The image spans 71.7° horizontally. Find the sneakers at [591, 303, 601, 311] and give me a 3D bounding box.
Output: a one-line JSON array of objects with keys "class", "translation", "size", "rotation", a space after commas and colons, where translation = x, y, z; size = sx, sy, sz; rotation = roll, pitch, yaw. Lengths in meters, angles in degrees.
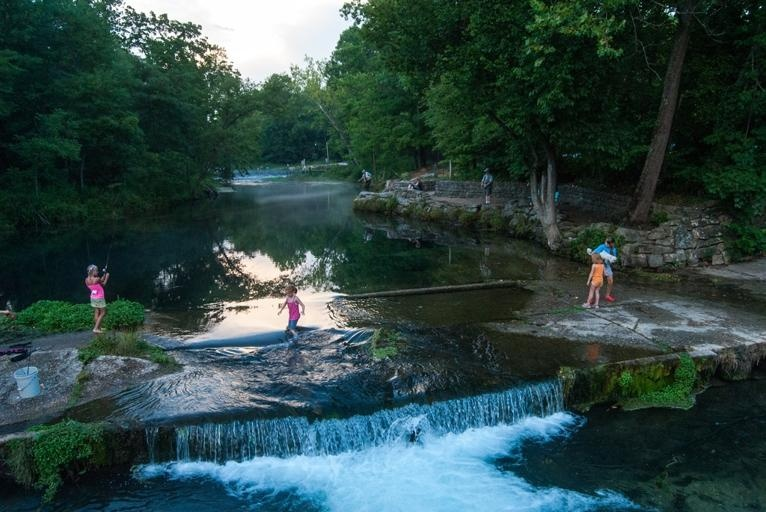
[{"class": "sneakers", "translation": [7.427, 1.774, 18.492], "size": [0.325, 0.113, 0.139], "rotation": [8, -9, 34]}]

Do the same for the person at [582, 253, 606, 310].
[{"class": "person", "translation": [7.492, 0.793, 18.825], "size": [0.636, 1.904, 1.457], "rotation": [0, 7, 21]}]

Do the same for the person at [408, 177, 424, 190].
[{"class": "person", "translation": [2.782, -6.056, 44.566], "size": [1.184, 0.560, 1.481], "rotation": [-2, 14, -7]}]

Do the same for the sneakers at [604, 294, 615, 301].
[{"class": "sneakers", "translation": [8.159, 1.489, 19.085], "size": [0.340, 0.137, 0.178], "rotation": [6, 19, 40]}]

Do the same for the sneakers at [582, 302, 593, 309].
[{"class": "sneakers", "translation": [7.153, 1.751, 18.679], "size": [0.125, 0.146, 0.354], "rotation": [-4, 11, -7]}]

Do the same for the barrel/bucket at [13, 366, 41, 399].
[{"class": "barrel/bucket", "translation": [-9.711, 3.473, 14.721], "size": [0.824, 0.789, 0.837], "rotation": [0, 3, 0]}]

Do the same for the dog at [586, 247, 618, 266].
[{"class": "dog", "translation": [7.766, -0.054, 18.924], "size": [0.853, 0.413, 1.052], "rotation": [17, 11, -24]}]
